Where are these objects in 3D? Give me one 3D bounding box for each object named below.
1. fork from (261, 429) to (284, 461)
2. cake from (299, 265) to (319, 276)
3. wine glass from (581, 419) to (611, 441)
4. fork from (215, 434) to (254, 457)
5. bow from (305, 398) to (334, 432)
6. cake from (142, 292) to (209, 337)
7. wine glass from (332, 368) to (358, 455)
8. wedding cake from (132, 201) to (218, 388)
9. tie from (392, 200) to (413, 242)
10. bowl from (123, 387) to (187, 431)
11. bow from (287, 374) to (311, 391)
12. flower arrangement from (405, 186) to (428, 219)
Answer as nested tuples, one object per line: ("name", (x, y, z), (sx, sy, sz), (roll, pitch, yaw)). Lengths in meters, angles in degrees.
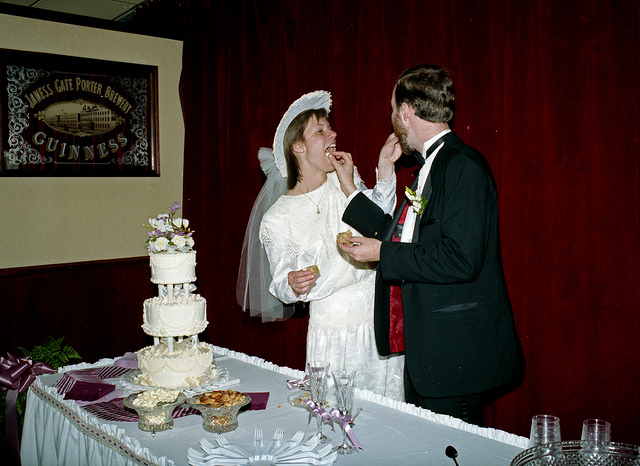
("fork", (-0.192, 0.869, 2.298), (0.027, 0.033, 0.218), (6, 28, 16))
("cake", (-0.044, 0.210, 2.993), (0.049, 0.032, 0.068), (5, -14, -30))
("wine glass", (1.053, 0.762, 2.178), (0.078, 0.104, 0.089), (0, -9, 7))
("fork", (-0.373, 0.881, 2.338), (0.041, 0.042, 0.298), (-3, 11, -40))
("bow", (-0.010, 0.791, 2.432), (0.138, 0.146, 0.140), (1, 8, 18))
("cake", (-0.825, 0.477, 3.167), (0.340, 0.234, 0.379), (0, 2, -7))
("wine glass", (0.100, 0.737, 2.361), (0.098, 0.315, 0.263), (-1, 7, 2))
("wedding cake", (-0.816, 0.329, 3.155), (0.358, 1.145, 0.466), (-1, 0, 19))
("tie", (0.390, -0.048, 2.895), (0.038, 0.175, 0.141), (22, 38, 20))
("bowl", (-0.744, 0.818, 2.559), (0.269, 0.153, 0.286), (2, -6, 0))
("bow", (-0.111, 0.747, 2.792), (0.102, 0.035, 0.102), (-13, 5, -38))
("flower arrangement", (0.462, -0.144, 2.781), (0.050, 0.121, 0.100), (-26, -20, 33))
